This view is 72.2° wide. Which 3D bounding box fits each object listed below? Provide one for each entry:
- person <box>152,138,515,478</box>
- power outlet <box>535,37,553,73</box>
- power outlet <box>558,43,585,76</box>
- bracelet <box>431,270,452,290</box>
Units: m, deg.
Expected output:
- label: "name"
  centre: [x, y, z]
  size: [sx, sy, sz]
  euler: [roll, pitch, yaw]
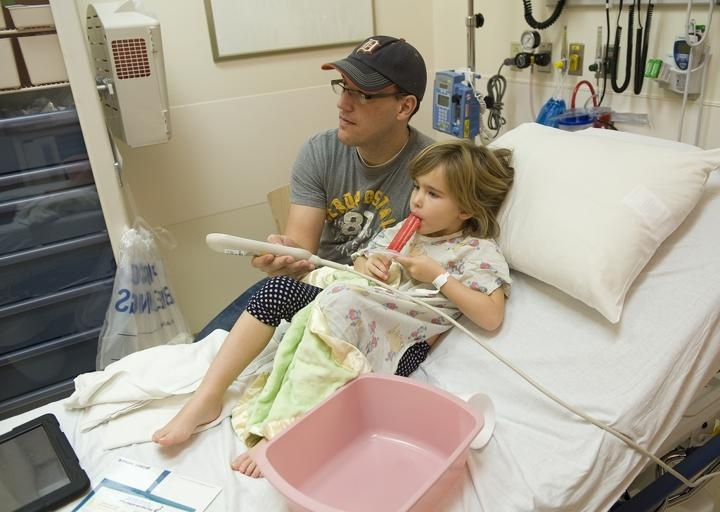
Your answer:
- label: "person"
  centre: [-0.015, 0.088, 1.726]
  size: [1.477, 1.044, 0.706]
  euler: [-5, 9, -37]
- label: "power outlet"
  centre: [0.909, -0.989, 2.441]
  size: [0.039, 0.150, 0.085]
  euler: [-16, 26, -31]
- label: "power outlet"
  centre: [1.004, -0.929, 2.333]
  size: [0.099, 0.155, 0.029]
  euler: [3, 4, 6]
- label: "bracelet"
  centre: [0.269, 0.079, 1.629]
  size: [0.060, 0.018, 0.044]
  euler: [-40, 67, 8]
